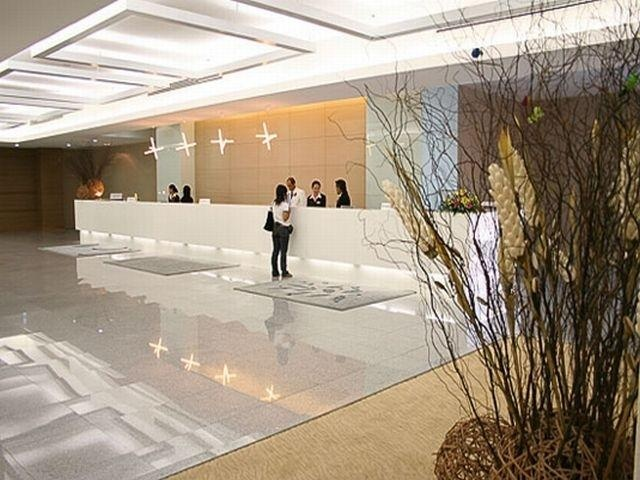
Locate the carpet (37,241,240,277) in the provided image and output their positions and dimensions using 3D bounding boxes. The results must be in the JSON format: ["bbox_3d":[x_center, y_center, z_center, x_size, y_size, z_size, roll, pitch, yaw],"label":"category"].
[{"bbox_3d":[-5.446,0.484,11.702,7.094,0.135,1.872,5,12,35],"label":"carpet"}]

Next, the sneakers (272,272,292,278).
[{"bbox_3d":[-0.834,0.781,9.242,0.456,0.201,0.160,-1,0,13],"label":"sneakers"}]

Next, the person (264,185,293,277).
[{"bbox_3d":[-0.932,-0.214,9.289,0.656,2.033,1.069,-3,9,-7],"label":"person"}]

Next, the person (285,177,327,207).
[{"bbox_3d":[-0.334,-1.245,10.608,1.073,1.033,0.394,-1,-1,-23],"label":"person"}]

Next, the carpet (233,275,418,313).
[{"bbox_3d":[0.038,0.970,7.773,3.008,0.125,1.778,5,12,31],"label":"carpet"}]

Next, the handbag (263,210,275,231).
[{"bbox_3d":[-1.192,-0.469,9.670,0.378,0.449,0.398,1,10,-8],"label":"handbag"}]
